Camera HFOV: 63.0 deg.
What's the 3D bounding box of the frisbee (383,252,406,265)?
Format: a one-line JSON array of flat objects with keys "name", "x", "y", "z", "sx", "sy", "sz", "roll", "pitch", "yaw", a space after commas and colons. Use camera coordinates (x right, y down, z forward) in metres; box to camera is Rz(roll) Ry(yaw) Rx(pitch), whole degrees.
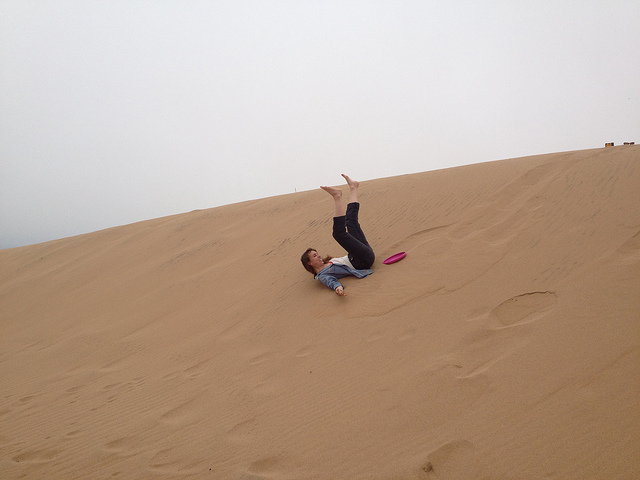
[{"name": "frisbee", "x": 1.152, "y": 0.281, "z": 7.964, "sx": 0.366, "sy": 0.088, "sz": 0.248, "roll": -18, "pitch": 9, "yaw": 3}]
